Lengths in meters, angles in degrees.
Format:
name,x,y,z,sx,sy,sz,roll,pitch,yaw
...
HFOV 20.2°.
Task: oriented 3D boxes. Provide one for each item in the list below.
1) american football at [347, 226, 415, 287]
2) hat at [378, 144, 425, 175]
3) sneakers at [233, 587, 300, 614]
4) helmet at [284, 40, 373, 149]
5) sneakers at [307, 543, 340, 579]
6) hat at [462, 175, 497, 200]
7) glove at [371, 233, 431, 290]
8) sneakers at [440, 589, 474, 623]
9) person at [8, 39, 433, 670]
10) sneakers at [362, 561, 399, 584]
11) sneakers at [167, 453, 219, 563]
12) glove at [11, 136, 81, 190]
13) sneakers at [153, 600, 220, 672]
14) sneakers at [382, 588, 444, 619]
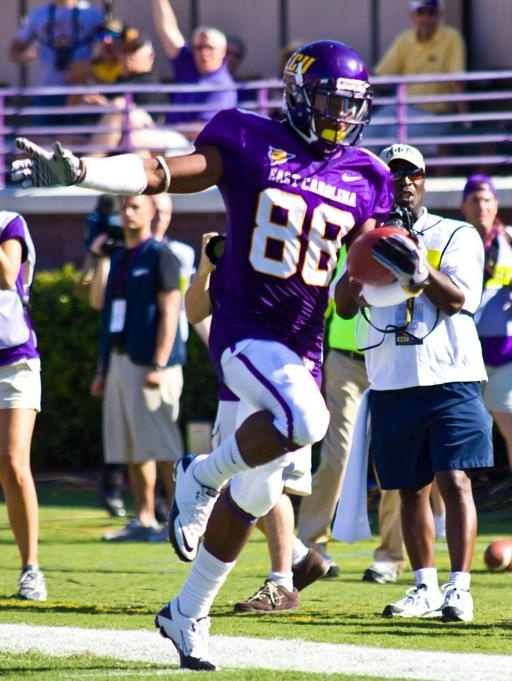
name,x,y,z,sx,sy,sz,roll,pitch,yaw
american football,0.434,-0.307,5.117,0.178,0.194,0.237,12,-3,-11
hat,0.636,-0.819,6.289,0.129,0.091,0.178,-4,-13,7
sneakers,0.043,1.072,5.969,0.262,0.112,0.102,8,-10,-33
helmet,0.240,-0.927,5.360,0.296,0.397,0.395,2,16,-30
sneakers,0.326,1.072,7.052,0.099,0.131,0.294,0,-4,-6
hat,1.268,-0.908,8.276,0.134,0.181,0.157,6,-8,-3
glove,0.498,-0.281,5.059,0.193,0.203,0.121,4,6,4
sneakers,0.813,1.062,5.878,0.131,0.143,0.217,4,6,9
person,0.004,0.013,5.137,0.730,2.266,1.375,8,8,38
sneakers,0.585,1.106,6.862,0.069,0.082,0.192,-7,-15,36
sneakers,-0.244,0.609,5.213,0.214,0.424,0.146,-13,-18,28
glove,-0.670,-0.581,4.654,0.235,0.156,0.221,2,6,-11
sneakers,-0.228,1.040,5.106,0.162,0.212,0.291,0,7,-29
sneakers,0.661,1.093,6.018,0.286,0.120,0.103,1,-2,-25
